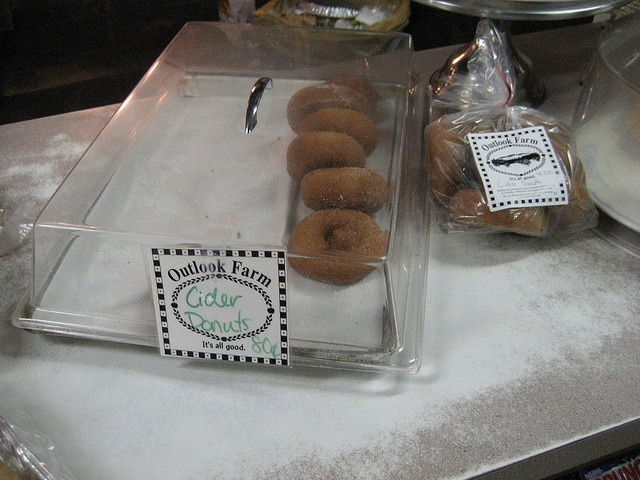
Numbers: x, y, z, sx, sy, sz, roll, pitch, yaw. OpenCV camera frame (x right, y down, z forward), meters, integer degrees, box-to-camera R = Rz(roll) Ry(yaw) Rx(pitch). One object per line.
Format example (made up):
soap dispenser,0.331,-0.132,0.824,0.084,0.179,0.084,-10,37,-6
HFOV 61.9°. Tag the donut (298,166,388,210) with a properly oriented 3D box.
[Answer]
donut,0.044,-0.061,0.726,0.125,0.131,0.054,6,87,-23

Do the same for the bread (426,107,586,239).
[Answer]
bread,0.281,-0.103,0.798,0.227,0.114,0.199,-4,54,0

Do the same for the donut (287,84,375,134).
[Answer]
donut,0.010,-0.201,0.793,0.105,0.079,0.056,-2,85,25

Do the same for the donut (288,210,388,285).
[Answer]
donut,0.022,0.007,0.657,0.119,0.055,0.076,0,54,3

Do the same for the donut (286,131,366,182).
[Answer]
donut,0.006,-0.125,0.725,0.101,0.059,0.077,3,22,23

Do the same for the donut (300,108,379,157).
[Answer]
donut,0.028,-0.163,0.755,0.096,0.073,0.058,-5,98,11

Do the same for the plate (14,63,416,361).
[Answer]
plate,-0.111,-0.095,0.753,0.519,0.151,0.486,4,55,6
